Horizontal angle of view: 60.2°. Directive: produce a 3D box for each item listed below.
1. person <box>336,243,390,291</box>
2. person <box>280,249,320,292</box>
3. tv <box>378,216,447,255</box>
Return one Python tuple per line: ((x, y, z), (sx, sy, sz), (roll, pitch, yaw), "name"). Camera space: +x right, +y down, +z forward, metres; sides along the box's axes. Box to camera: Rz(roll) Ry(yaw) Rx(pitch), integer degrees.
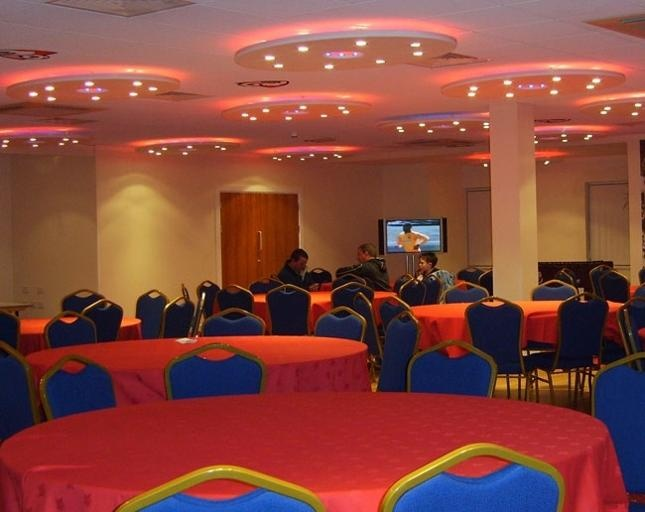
((0.697, 0.163, 9.339), (0.960, 0.663, 0.673), (3, 14, 21), "person")
((-0.368, 0.237, 9.395), (0.802, 0.577, 0.779), (11, 9, 12), "person")
((2.215, -0.484, 13.760), (1.402, 0.603, 0.169), (0, 2, 13), "tv")
